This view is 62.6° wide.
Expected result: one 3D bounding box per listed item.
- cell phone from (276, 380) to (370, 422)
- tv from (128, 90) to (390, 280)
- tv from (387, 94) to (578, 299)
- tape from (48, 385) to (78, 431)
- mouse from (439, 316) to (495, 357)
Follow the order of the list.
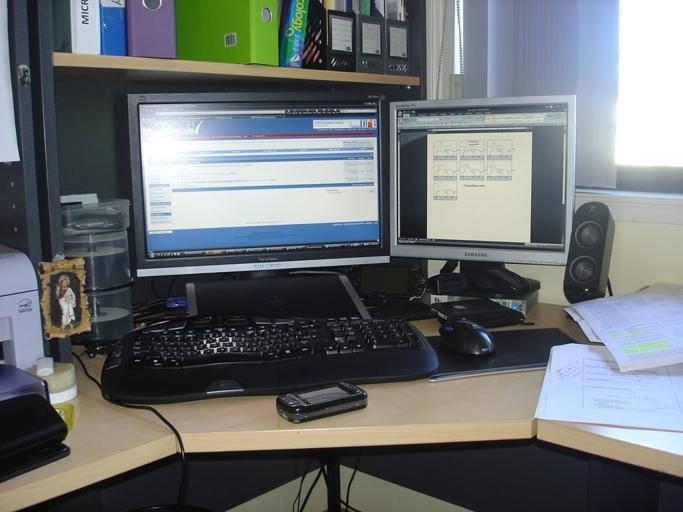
[{"bbox_3d":[-0.030,0.243,0.987,0.113,0.028,0.067,-6,13,-27],"label":"cell phone"},{"bbox_3d":[-0.212,-0.187,1.407,0.506,0.328,0.054,-2,6,-12],"label":"tv"},{"bbox_3d":[0.365,-0.163,1.475,0.593,0.543,0.084,0,2,17],"label":"tv"},{"bbox_3d":[-0.479,0.259,0.973,0.053,0.016,0.070,-3,24,-6],"label":"tape"},{"bbox_3d":[0.270,0.172,1.247,0.112,0.057,0.167,-5,7,-14],"label":"mouse"}]
